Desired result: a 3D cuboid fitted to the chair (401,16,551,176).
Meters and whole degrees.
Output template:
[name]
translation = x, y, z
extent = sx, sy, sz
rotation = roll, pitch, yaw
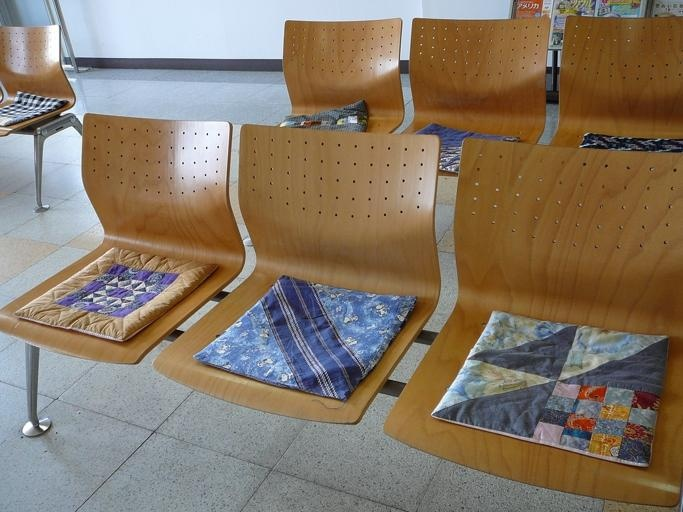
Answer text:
[chair]
translation = 0.634, -0.851, 2.801
extent = 1.008, 0.856, 0.824
rotation = 7, 37, 16
